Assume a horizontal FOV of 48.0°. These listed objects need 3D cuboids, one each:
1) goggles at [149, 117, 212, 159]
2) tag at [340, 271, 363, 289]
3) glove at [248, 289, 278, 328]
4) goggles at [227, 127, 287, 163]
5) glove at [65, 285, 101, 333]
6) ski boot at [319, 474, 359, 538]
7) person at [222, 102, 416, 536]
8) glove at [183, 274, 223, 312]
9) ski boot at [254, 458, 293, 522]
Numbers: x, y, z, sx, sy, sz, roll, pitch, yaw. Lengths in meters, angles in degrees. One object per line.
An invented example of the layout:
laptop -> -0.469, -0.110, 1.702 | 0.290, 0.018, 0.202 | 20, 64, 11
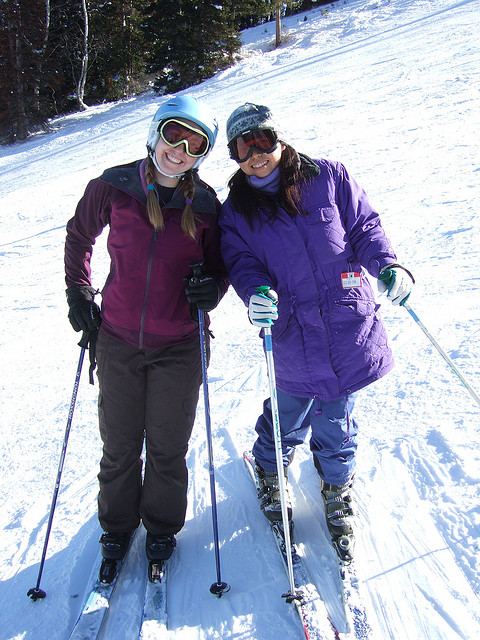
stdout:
goggles -> -0.256, -0.811, 2.392 | 0.180, 0.083, 0.215 | 30, 0, -26
tag -> 0.500, -0.175, 2.407 | 0.095, 0.074, 0.053 | -6, 20, 5
glove -> 0.102, -0.037, 2.327 | 0.127, 0.186, 0.139 | -8, 20, 1
goggles -> 0.078, -0.795, 2.444 | 0.271, 0.138, 0.147 | -6, 20, 4
glove -> -0.749, -0.046, 2.606 | 0.186, 0.211, 0.093 | -10, -3, 3
ski boot -> 0.466, 0.904, 2.620 | 0.113, 0.318, 0.138 | -2, -20, -17
person -> 0.374, -0.023, 2.538 | 0.716, 1.927, 0.737 | -14, 21, -14
glove -> -0.165, -0.123, 2.429 | 0.134, 0.175, 0.079 | -30, -4, 1
ski boot -> 0.179, 0.892, 2.829 | 0.105, 0.163, 0.334 | -7, 54, 0
